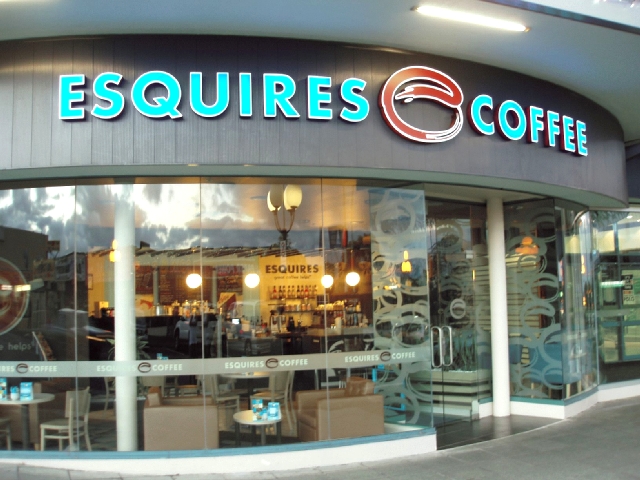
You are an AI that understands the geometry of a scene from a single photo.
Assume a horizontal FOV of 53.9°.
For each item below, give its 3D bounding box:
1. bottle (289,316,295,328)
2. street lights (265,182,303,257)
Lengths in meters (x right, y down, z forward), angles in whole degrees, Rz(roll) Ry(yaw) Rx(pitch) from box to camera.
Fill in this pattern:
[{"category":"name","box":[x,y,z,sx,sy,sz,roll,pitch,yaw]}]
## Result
[{"category":"bottle","box":[-0.416,1.221,9.313,0.096,0.195,0.050,-2,-8,-19]},{"category":"street lights","box":[-0.506,-0.295,9.443,0.542,1.042,0.148,-4,-8,-3]}]
